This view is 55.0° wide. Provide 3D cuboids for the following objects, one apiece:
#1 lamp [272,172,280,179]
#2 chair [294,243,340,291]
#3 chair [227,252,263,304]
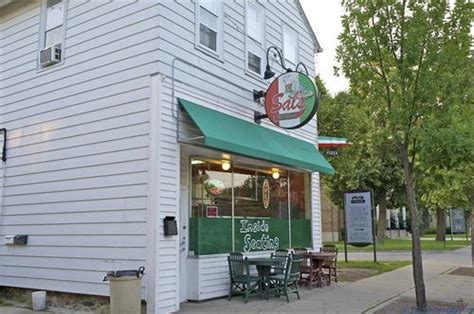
[{"bbox_3d":[1.421,0.651,16.706,0.244,0.320,0.241,2,-24,-5],"label":"lamp"},{"bbox_3d":[2.973,4.049,16.707,1.305,1.134,1.703,-3,-4,31],"label":"chair"},{"bbox_3d":[0.236,3.830,14.514,1.031,1.525,1.173,-6,-14,12],"label":"chair"}]
